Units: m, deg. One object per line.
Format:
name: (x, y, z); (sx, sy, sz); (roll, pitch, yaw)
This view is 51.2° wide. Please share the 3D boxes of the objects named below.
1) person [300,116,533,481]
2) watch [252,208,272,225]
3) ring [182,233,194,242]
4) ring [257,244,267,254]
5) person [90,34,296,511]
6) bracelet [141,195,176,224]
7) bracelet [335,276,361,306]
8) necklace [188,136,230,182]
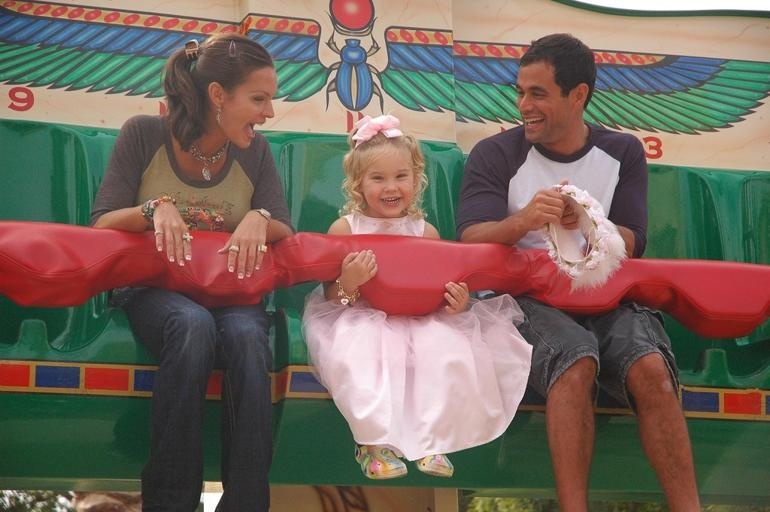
person: (0.084, 0.123, 2.945); (0.760, 1.191, 0.814); (-9, 17, -28)
watch: (-0.449, -0.156, 3.032); (0.059, 0.062, 0.040); (-31, 24, 35)
ring: (-0.694, -0.069, 2.839); (0.032, 0.024, 0.023); (1, -10, 0)
ring: (-0.440, -0.025, 2.903); (0.032, 0.030, 0.031); (2, -10, 0)
person: (-0.632, 0.014, 2.848); (0.717, 1.540, 0.918); (-6, 16, -19)
bracelet: (-0.802, -0.161, 2.862); (0.088, 0.045, 0.111); (-2, -18, -17)
bracelet: (-0.133, 0.127, 2.959); (0.078, 0.102, 0.033); (-10, 14, 36)
necklace: (-0.676, -0.368, 3.090); (0.125, 0.157, 0.058); (7, 6, -20)
